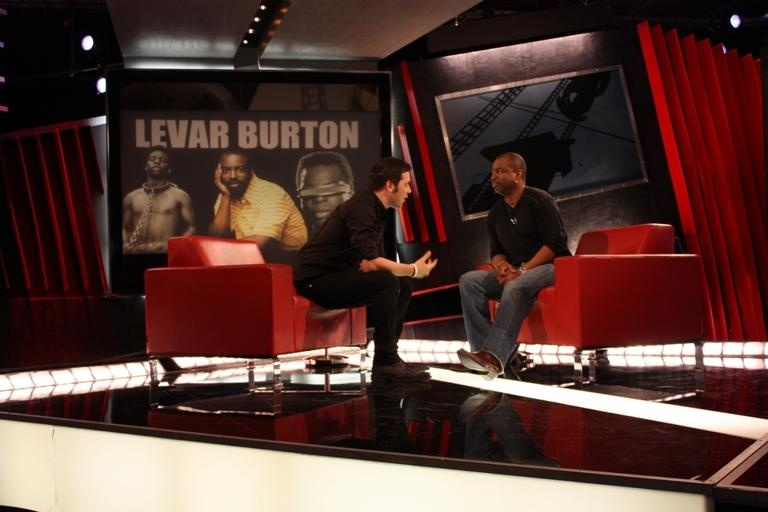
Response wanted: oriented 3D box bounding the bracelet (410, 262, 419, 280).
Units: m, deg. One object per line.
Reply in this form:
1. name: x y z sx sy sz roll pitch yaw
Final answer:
1. bracelet: 0.237 0.114 4.458 0.036 0.091 0.071 -19 9 -28

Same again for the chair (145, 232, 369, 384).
1. chair: -0.937 0.368 4.488 1.053 1.003 0.965 -2 -4 24

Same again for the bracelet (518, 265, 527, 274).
1. bracelet: 0.976 0.091 4.446 0.050 0.063 0.068 2 -4 -37

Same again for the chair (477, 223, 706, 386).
1. chair: 1.544 0.357 4.675 0.972 1.076 1.230 -3 -4 -11
